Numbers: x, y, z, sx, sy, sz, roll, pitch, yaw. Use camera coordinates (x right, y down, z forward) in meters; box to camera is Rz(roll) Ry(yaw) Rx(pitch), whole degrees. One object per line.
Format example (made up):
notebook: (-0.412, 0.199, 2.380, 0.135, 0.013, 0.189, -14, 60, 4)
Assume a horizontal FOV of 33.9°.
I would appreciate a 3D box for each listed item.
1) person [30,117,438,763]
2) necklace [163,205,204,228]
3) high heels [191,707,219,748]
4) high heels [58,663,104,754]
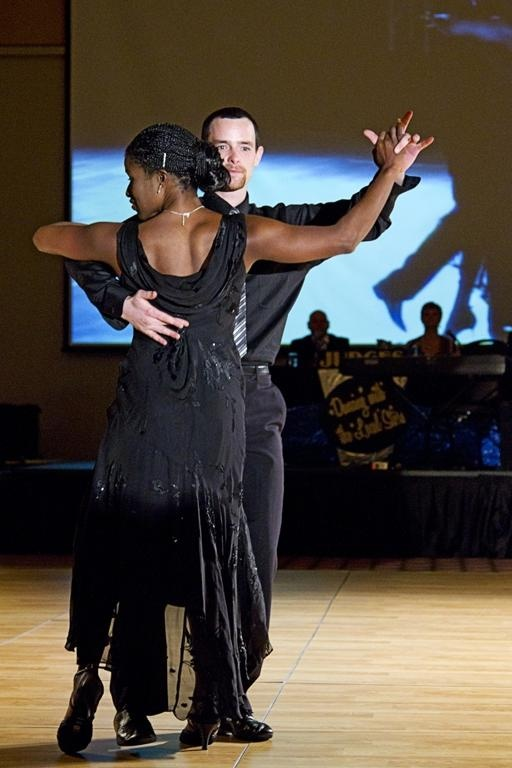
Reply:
person: (-0.125, 0.115, 1.495, 0.638, 1.121, 0.177, 4, 6, 5)
necklace: (-0.121, -0.287, 1.419, 0.053, 0.039, 0.017, 0, -28, -2)
high heels: (-0.100, 0.628, 1.535, 0.040, 0.042, 0.106, 1, 7, -7)
high heels: (-0.316, 0.589, 1.498, 0.077, 0.164, 0.074, 14, -5, -8)
